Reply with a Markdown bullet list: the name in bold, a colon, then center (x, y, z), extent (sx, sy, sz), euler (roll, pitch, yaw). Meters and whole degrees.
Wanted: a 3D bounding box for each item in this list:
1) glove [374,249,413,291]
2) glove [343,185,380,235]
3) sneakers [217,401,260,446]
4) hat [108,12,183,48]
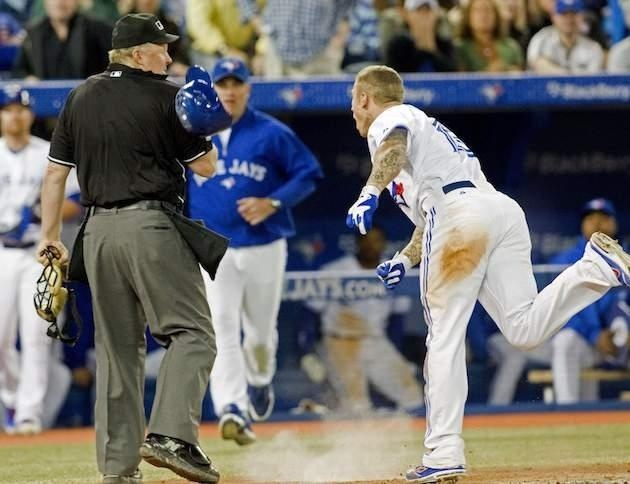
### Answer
- **glove**: center (0.462, 0.169, 7.008), extent (0.254, 0.159, 0.112), euler (-36, 17, -26)
- **glove**: center (0.285, -0.157, 6.534), extent (0.161, 0.287, 0.105), euler (8, -20, 33)
- **sneakers**: center (-0.554, 1.301, 8.161), extent (0.239, 0.358, 0.237), euler (0, 10, -6)
- **hat**: center (-0.999, -1.230, 6.711), extent (0.402, 0.202, 0.278), euler (-4, 11, 6)
